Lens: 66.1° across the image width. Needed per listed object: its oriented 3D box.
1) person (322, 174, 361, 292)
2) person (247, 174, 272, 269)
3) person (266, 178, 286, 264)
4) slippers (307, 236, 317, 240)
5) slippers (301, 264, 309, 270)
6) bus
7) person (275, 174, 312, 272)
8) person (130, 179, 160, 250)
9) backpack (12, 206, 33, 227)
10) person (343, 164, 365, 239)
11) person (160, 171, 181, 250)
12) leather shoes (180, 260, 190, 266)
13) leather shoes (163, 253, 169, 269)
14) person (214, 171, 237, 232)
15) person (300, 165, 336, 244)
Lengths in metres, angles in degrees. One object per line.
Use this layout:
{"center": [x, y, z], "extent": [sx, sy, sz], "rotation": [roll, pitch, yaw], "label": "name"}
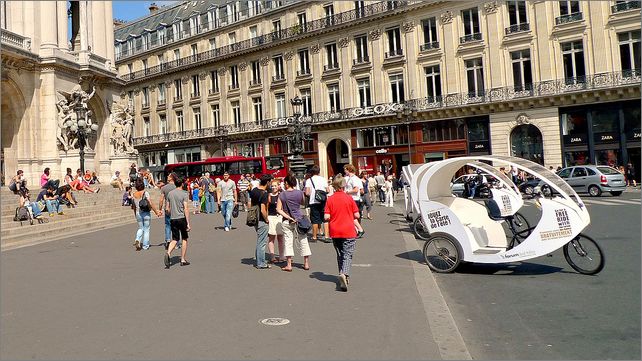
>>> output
{"center": [0.711, 1.659, 15.620], "extent": [1.093, 3.360, 1.207], "rotation": [1, 1, 6], "label": "person"}
{"center": [-2.110, 1.466, 17.279], "extent": [0.810, 3.098, 0.744], "rotation": [0, 1, 3], "label": "person"}
{"center": [-1.550, 1.442, 17.374], "extent": [0.621, 2.923, 0.599], "rotation": [0, 1, 3], "label": "person"}
{"center": [-0.353, 2.454, 20.707], "extent": [0.275, 0.130, 0.398], "rotation": [-7, 3, 4], "label": "slippers"}
{"center": [-0.495, 2.943, 16.794], "extent": [0.256, 0.204, 0.259], "rotation": [-5, 3, -3], "label": "slippers"}
{"center": [-9.949, -0.847, 44.887], "extent": [13.550, 3.971, 4.362], "rotation": [-1, 0, 21], "label": "bus"}
{"center": [-0.876, 1.448, 17.142], "extent": [1.119, 3.269, 1.018], "rotation": [1, 1, 6], "label": "person"}
{"center": [-7.159, 1.391, 20.172], "extent": [1.122, 3.112, 1.135], "rotation": [1, 0, -9], "label": "person"}
{"center": [-13.956, 1.731, 23.317], "extent": [0.492, 0.852, 0.893], "rotation": [-7, -5, 39], "label": "backpack"}
{"center": [1.441, 0.898, 21.400], "extent": [0.923, 3.208, 1.066], "rotation": [0, 1, 4], "label": "person"}
{"center": [-5.902, 0.915, 19.075], "extent": [0.958, 3.614, 0.947], "rotation": [0, 1, -11], "label": "person"}
{"center": [-4.772, 2.942, 17.489], "extent": [0.309, 0.128, 0.112], "rotation": [-5, 6, -40], "label": "leather shoes"}
{"center": [-5.326, 2.824, 17.260], "extent": [0.196, 0.476, 0.217], "rotation": [-3, 7, 2], "label": "leather shoes"}
{"center": [-4.661, 1.039, 23.765], "extent": [1.031, 2.889, 1.197], "rotation": [0, 0, -3], "label": "person"}
{"center": [-0.142, 0.868, 20.042], "extent": [1.041, 3.105, 1.026], "rotation": [-3, 1, 27], "label": "person"}
